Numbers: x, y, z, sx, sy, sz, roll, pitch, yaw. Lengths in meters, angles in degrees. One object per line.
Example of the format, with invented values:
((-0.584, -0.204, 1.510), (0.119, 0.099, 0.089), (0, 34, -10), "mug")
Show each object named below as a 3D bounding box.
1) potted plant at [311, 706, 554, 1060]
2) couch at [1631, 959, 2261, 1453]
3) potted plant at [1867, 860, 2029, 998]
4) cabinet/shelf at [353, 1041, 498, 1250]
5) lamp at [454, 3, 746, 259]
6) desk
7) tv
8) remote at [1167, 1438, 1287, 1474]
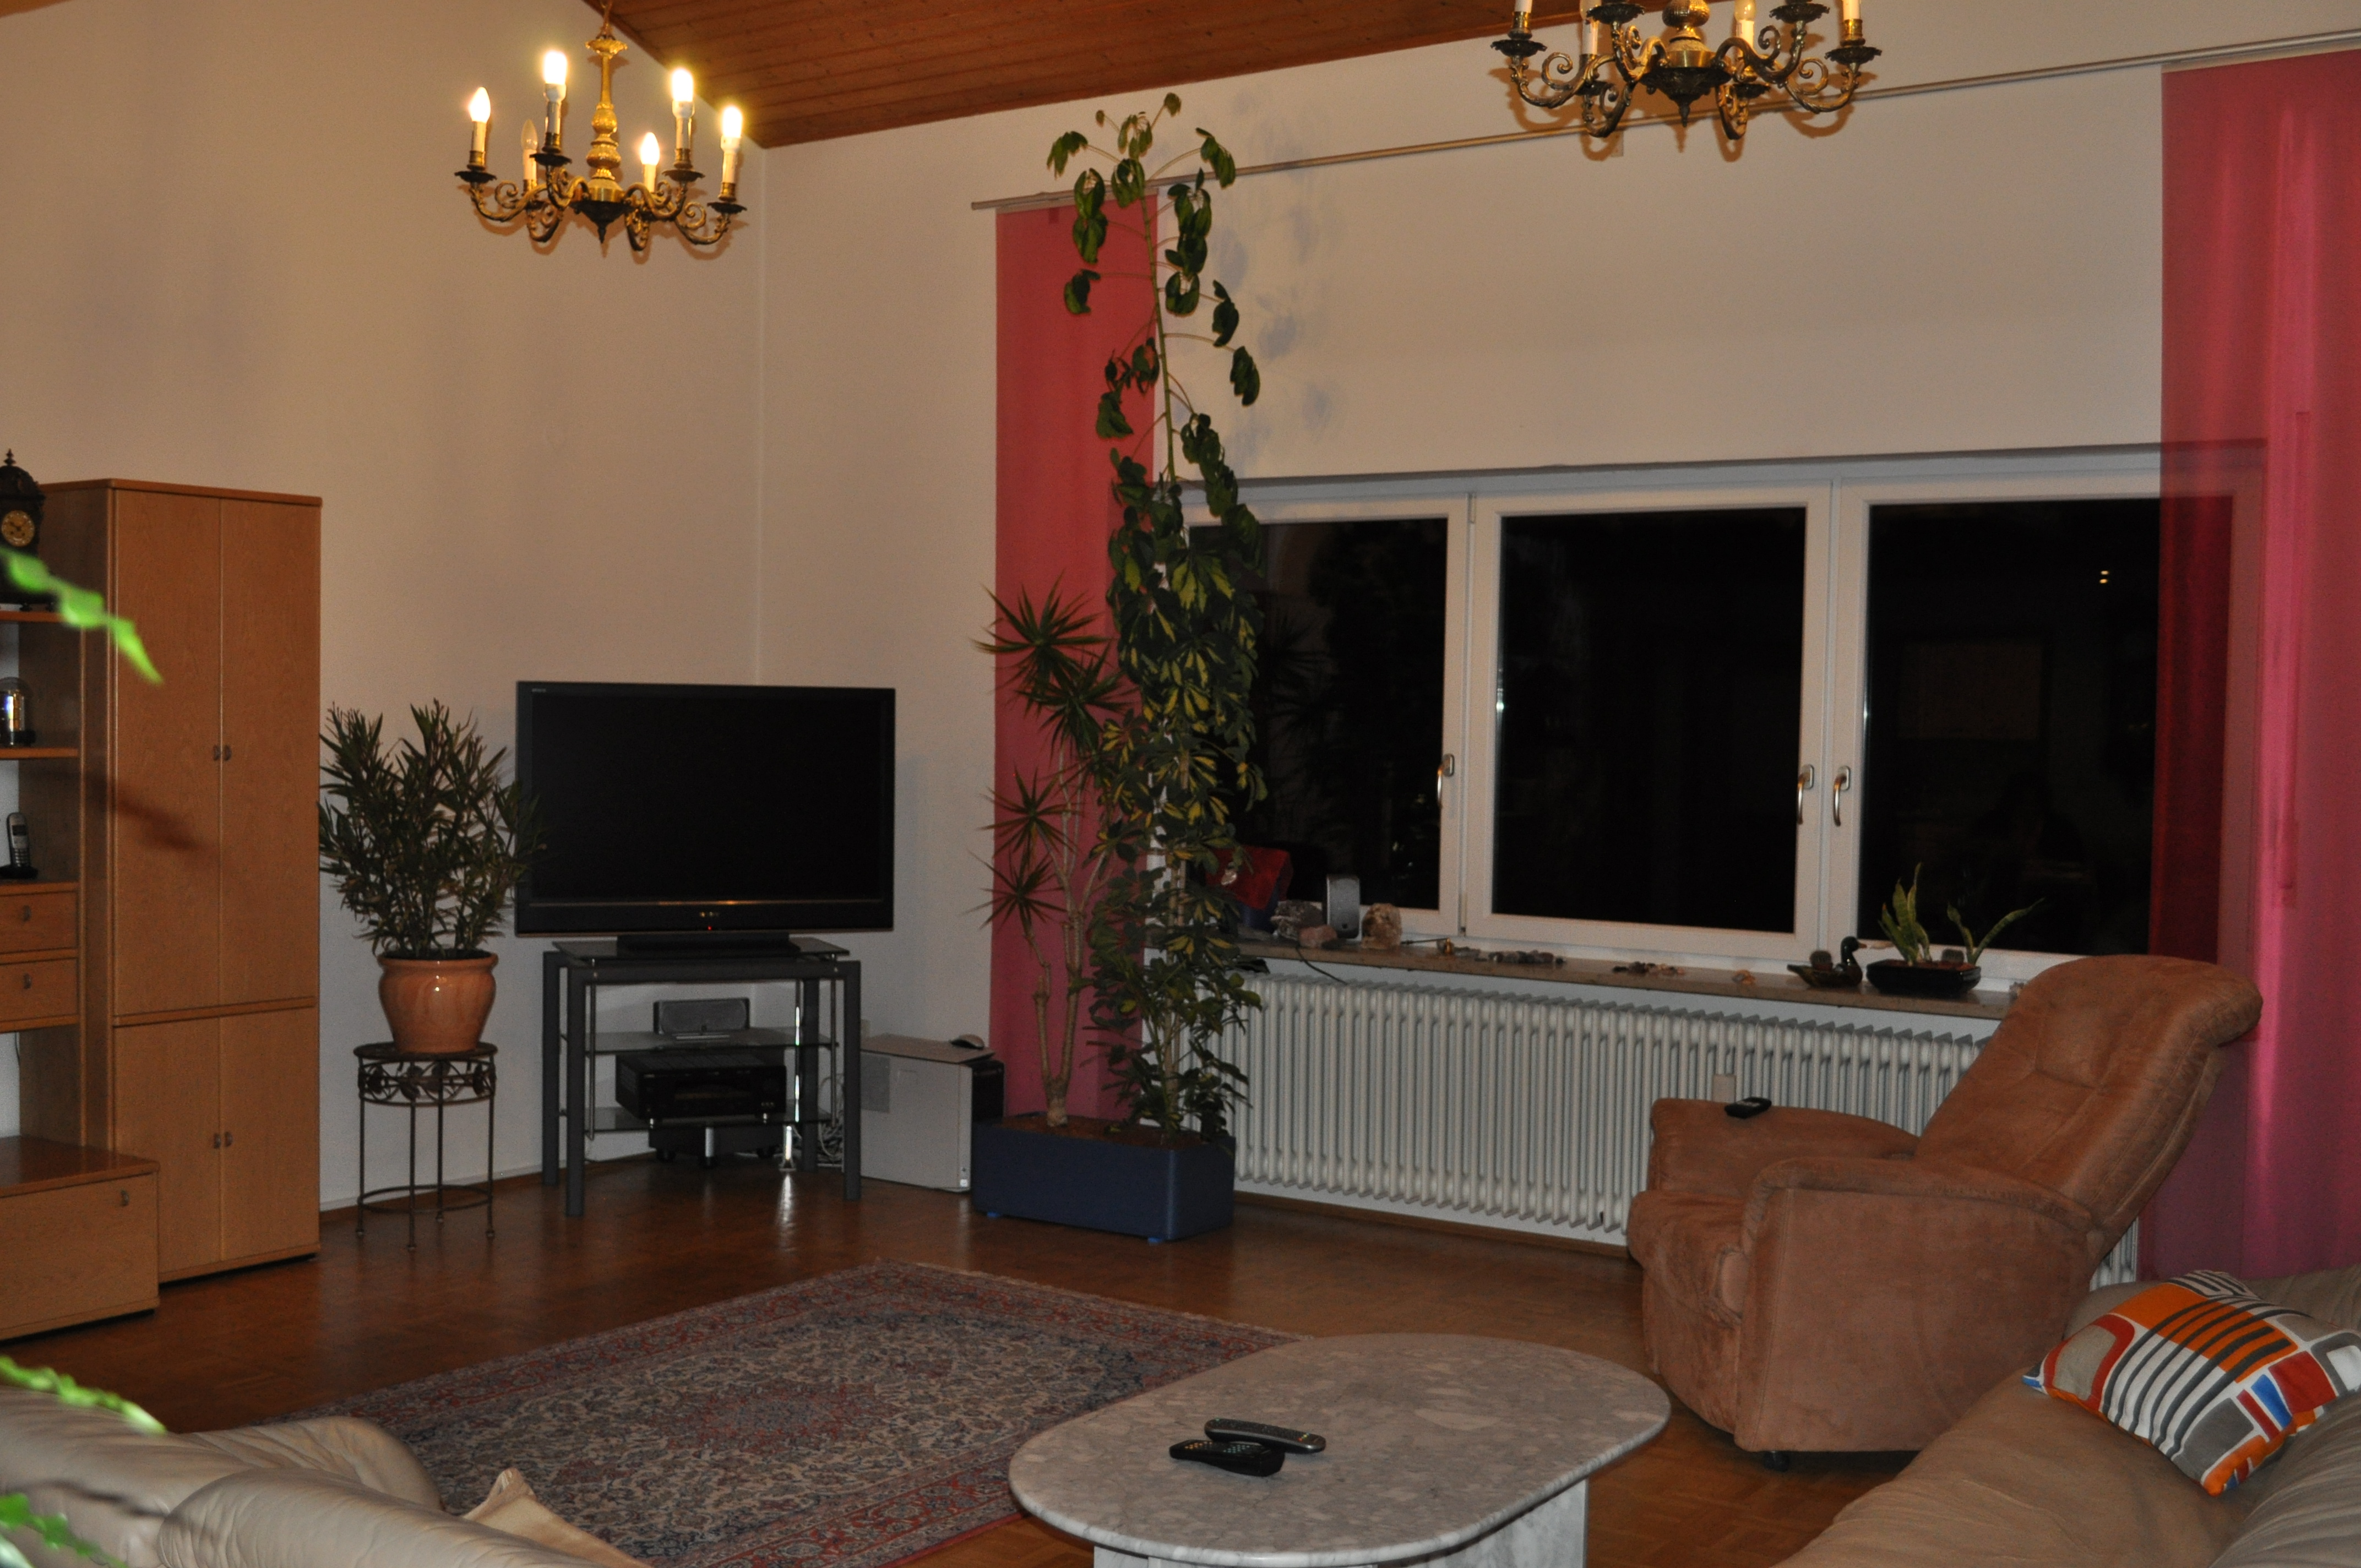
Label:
((-2.765, 0.337, 6.902), (0.732, 1.189, 0.819), (-4, 9, -31), "potted plant")
((2.186, 1.179, 5.469), (1.506, 1.365, 1.196), (1, -2, -1), "couch")
((2.581, 0.535, 6.351), (0.176, 0.405, 0.495), (-2, 4, -43), "potted plant")
((-2.733, 1.311, 6.840), (0.531, 0.659, 0.505), (0, -4, 7), "cabinet/shelf")
((-1.923, -2.213, 6.178), (0.759, 1.045, 1.982), (-2, 8, -18), "lamp")
((-1.855, 1.138, 7.435), (1.129, 0.987, 0.611), (1, -1, -18), "desk")
((-1.851, 0.132, 7.477), (1.459, 1.039, 0.207), (0, -2, -7), "tv")
((0.100, 1.421, 3.988), (0.173, 0.042, 0.091), (1, -1, 27), "remote")
